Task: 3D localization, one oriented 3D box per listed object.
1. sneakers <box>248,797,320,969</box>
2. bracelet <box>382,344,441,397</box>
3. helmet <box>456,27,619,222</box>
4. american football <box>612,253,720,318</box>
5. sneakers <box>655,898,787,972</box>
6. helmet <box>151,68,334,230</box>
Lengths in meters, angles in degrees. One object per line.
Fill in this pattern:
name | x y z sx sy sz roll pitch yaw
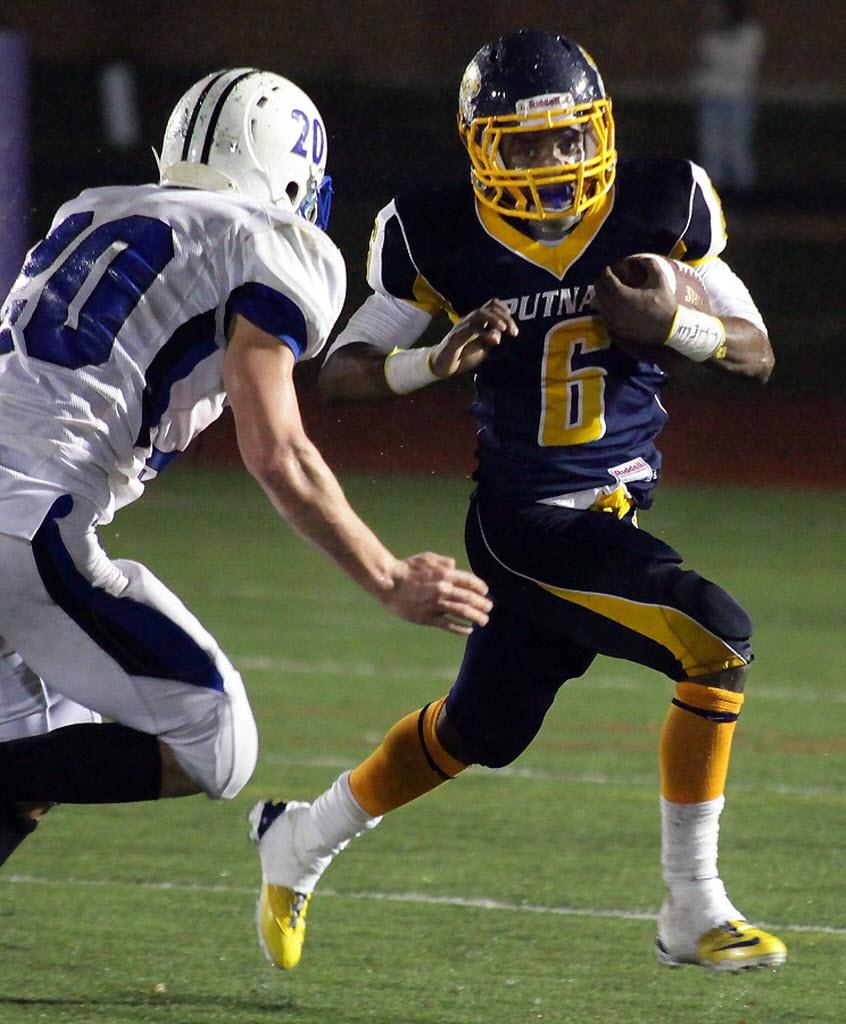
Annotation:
sneakers | -0.268 0.619 2.316 0.139 0.089 0.256 -31 48 18
bracelet | 0.005 -0.234 2.374 0.102 0.074 0.081 -12 49 31
helmet | 0.169 -0.676 2.418 0.283 0.244 0.314 -11 33 -21
american football | 0.403 -0.376 2.351 0.153 0.090 0.121 25 -17 -24
sneakers | 0.458 0.656 2.159 0.103 0.094 0.243 1 -12 -35
helmet | -0.293 -0.558 2.193 0.285 0.215 0.301 4 6 2
